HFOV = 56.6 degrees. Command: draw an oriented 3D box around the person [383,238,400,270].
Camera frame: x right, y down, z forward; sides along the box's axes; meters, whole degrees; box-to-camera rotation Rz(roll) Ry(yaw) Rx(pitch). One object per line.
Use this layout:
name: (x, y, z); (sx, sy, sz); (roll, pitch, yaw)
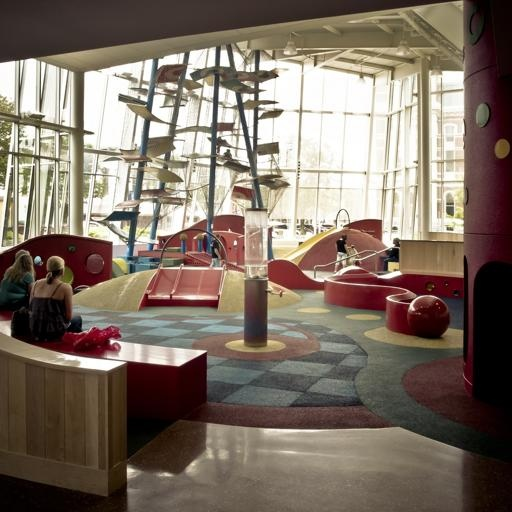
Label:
person: (4.702, -0.041, 16.735); (0.490, 1.168, 1.564); (1, 2, 14)

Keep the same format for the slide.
slide: (-1.656, 0.725, 11.079); (1.456, 0.497, 0.946); (0, 13, 1)
